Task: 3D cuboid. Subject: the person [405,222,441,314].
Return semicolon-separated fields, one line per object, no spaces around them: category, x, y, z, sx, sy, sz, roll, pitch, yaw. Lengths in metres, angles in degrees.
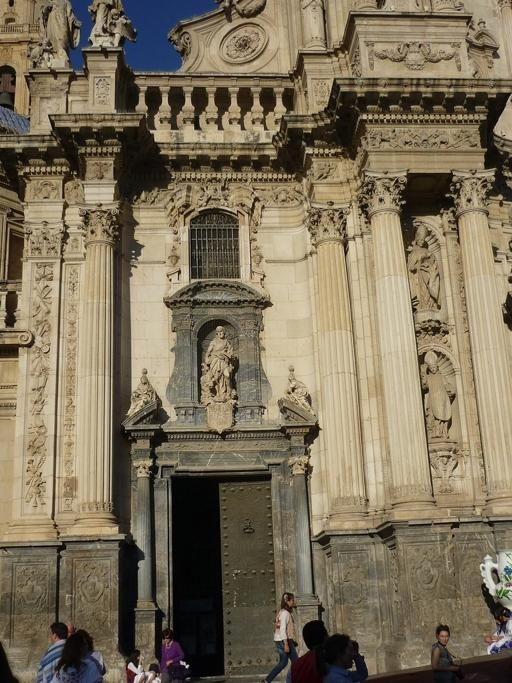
person;4.048;-1.711;21.838;0.766;2.358;0.368;-1;-19;-6

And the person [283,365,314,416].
person;0.991;1.184;20.940;0.638;1.292;0.647;-4;-18;3

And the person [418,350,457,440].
person;4.180;1.246;20.619;0.766;2.104;0.192;-1;-19;-6

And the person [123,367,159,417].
person;-2.511;1.215;20.313;0.686;1.313;0.868;-2;-18;-2

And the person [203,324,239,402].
person;-0.882;0.633;20.987;0.791;1.823;0.501;-2;-18;-4
